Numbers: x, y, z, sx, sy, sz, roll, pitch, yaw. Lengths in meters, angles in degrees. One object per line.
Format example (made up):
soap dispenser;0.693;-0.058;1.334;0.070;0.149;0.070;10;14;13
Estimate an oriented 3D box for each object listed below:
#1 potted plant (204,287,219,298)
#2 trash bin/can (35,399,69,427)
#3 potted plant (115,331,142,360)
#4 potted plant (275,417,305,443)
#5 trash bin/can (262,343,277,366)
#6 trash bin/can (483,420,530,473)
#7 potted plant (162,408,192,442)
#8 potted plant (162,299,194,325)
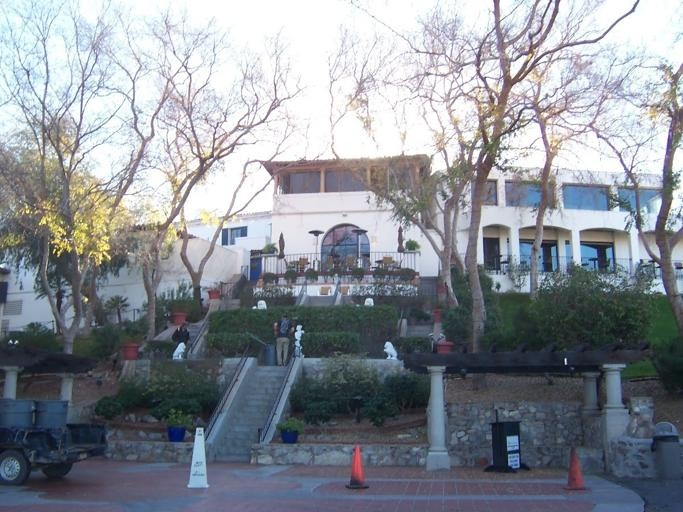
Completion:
potted plant;-6.630;1.982;36.292;0.579;0.458;0.500;2;-11;-11
trash bin/can;-7.498;4.081;18.054;0.864;0.756;0.564;4;-13;-18
potted plant;-8.596;3.589;28.111;0.905;1.164;1.015;4;-12;-12
potted plant;-1.694;5.683;22.654;0.676;0.796;0.770;2;-19;-3
trash bin/can;-2.889;3.955;27.975;0.648;0.926;0.667;10;-18;-32
trash bin/can;4.488;5.540;20.314;1.329;1.880;1.234;7;-12;-44
potted plant;-5.429;5.624;23.311;0.828;1.030;0.930;3;-10;-3
potted plant;-7.901;2.613;33.523;1.053;1.307;1.164;-1;-5;-8
